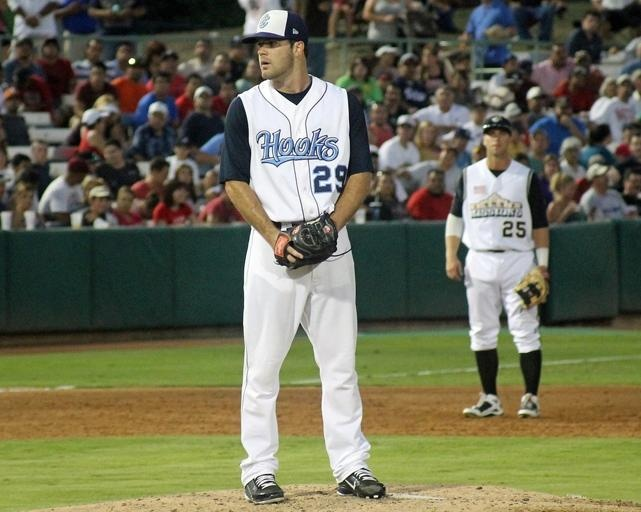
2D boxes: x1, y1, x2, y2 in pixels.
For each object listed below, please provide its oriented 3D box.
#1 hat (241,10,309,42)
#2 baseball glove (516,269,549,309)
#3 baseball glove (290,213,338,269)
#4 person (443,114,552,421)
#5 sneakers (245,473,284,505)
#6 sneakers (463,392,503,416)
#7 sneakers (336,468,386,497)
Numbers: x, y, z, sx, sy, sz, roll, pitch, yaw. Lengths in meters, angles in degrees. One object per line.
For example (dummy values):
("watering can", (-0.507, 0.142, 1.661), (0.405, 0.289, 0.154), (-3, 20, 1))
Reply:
("hat", (-0.320, -1.724, 11.859), (0.375, 0.177, 0.260), (1, 3, -18))
("baseball glove", (1.832, 0.278, 13.647), (0.276, 0.360, 0.194), (-1, 1, 8))
("baseball glove", (-0.060, -0.118, 11.702), (0.349, 0.415, 0.185), (-1, 1, -2))
("person", (1.553, 0.104, 13.787), (0.895, 2.677, 0.416), (-1, 1, 7))
("sneakers", (-0.431, 1.754, 11.720), (0.145, 0.157, 0.354), (1, -12, -26))
("sneakers", (1.461, 1.341, 14.004), (0.425, 0.233, 0.150), (1, -3, 2))
("sneakers", (0.309, 1.724, 11.806), (0.389, 0.166, 0.155), (-8, -9, 39))
